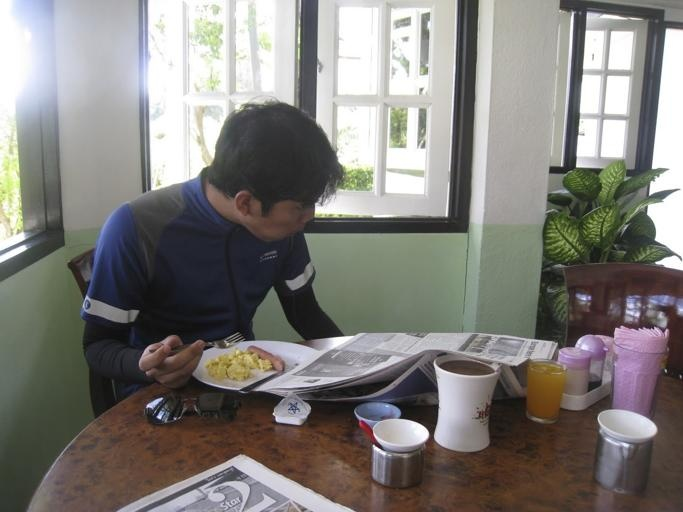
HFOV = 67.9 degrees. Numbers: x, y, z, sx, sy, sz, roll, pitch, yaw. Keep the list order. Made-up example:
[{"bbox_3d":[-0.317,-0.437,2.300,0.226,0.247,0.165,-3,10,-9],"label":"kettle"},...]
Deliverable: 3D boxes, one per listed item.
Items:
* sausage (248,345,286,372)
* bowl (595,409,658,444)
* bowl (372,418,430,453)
[{"bbox_3d":[-0.181,0.259,1.287,0.036,0.048,0.165,-19,19,-32],"label":"sausage"},{"bbox_3d":[0.527,0.317,0.940,0.083,0.034,0.088,-1,14,0],"label":"bowl"},{"bbox_3d":[0.112,0.321,0.949,0.063,0.022,0.062,1,6,0],"label":"bowl"}]
